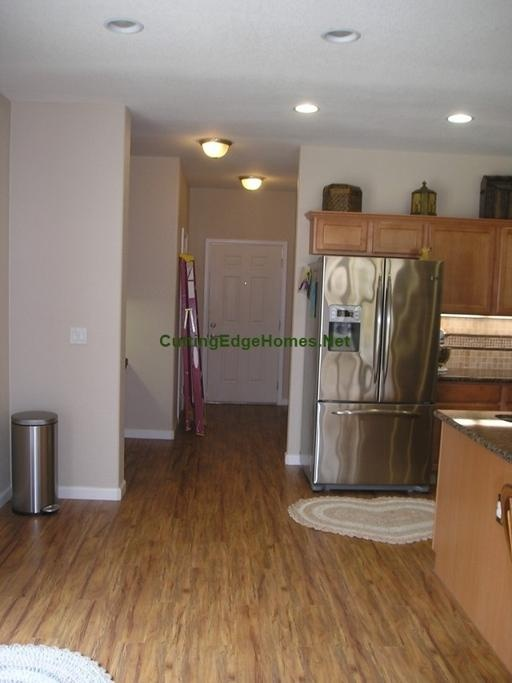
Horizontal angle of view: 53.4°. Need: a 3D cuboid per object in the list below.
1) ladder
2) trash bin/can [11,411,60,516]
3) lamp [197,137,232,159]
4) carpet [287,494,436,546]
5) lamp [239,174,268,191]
[{"bbox_3d":[-0.683,0.036,5.458,0.305,1.828,0.701,1,2,-8],"label":"ladder"},{"bbox_3d":[-1.354,0.757,3.113,0.269,0.608,0.156,1,2,-29],"label":"trash bin/can"},{"bbox_3d":[-0.317,-1.569,4.151,0.300,0.138,0.258,2,2,-22],"label":"lamp"},{"bbox_3d":[0.712,1.124,3.311,1.006,0.020,0.856,3,2,5],"label":"carpet"},{"bbox_3d":[-0.047,-1.746,5.678,0.194,0.092,0.215,0,0,0],"label":"lamp"}]
